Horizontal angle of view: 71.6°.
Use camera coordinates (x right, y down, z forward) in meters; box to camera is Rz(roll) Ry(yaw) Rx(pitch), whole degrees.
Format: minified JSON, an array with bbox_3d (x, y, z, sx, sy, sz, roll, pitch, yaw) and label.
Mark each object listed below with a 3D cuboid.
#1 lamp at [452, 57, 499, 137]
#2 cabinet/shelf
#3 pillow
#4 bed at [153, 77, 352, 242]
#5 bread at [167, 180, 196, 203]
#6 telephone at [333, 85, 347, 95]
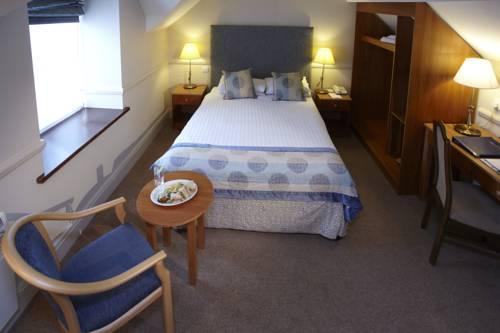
[{"bbox_3d":[2.471,-0.774,3.776,0.453,0.842,0.458,21,39,35],"label":"lamp"},{"bbox_3d":[2.035,-0.820,4.252,0.677,2.049,2.359,1,30,3],"label":"cabinet/shelf"},{"bbox_3d":[0.218,-1.328,5.669,1.734,0.642,0.257,-1,-2,0],"label":"pillow"},{"bbox_3d":[0.147,-0.101,4.497,2.096,0.853,2.226,0,26,3],"label":"bed"},{"bbox_3d":[-0.616,0.205,3.147,0.156,0.069,0.209,-6,29,-7],"label":"bread"},{"bbox_3d":[1.542,-1.318,6.028,0.171,0.087,0.241,0,34,-1],"label":"telephone"}]
